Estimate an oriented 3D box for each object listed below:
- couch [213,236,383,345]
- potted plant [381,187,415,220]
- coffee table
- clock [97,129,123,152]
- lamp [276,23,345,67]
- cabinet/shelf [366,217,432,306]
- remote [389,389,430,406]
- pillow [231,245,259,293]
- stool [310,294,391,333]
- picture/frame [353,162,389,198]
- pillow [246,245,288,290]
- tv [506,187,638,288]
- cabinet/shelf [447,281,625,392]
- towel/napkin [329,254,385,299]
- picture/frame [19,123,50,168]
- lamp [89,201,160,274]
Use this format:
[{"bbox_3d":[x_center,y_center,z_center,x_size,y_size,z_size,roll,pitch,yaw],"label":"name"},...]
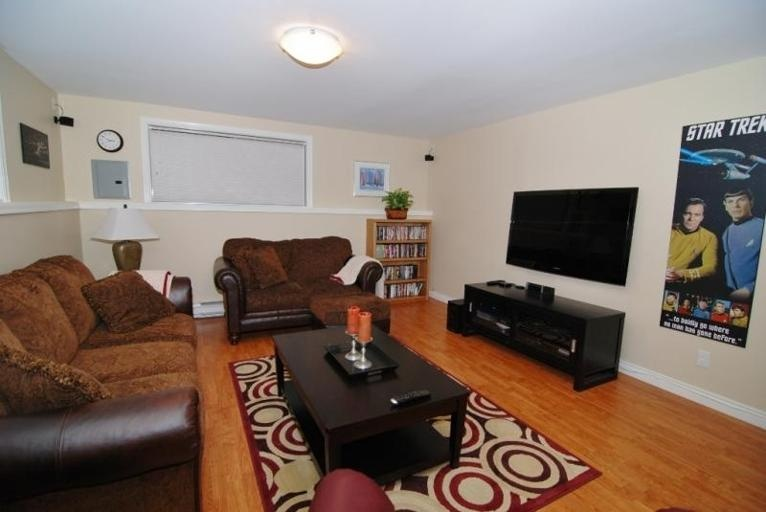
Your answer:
[{"bbox_3d":[-1.035,0.330,5.623,1.537,0.822,1.324,-4,11,-29],"label":"couch"},{"bbox_3d":[0.219,-0.706,6.963,0.497,0.453,0.437,0,1,-24],"label":"potted plant"},{"bbox_3d":[-0.158,1.136,4.053,1.152,0.797,1.348,-2,9,-25],"label":"coffee table"},{"bbox_3d":[-3.052,-1.292,5.633,0.262,0.256,0.052,0,10,-12],"label":"clock"},{"bbox_3d":[-0.610,-1.782,4.269,0.552,0.252,0.334,1,8,-7],"label":"lamp"},{"bbox_3d":[0.294,-0.139,7.073,0.726,0.958,0.230,-4,34,-6],"label":"cabinet/shelf"},{"bbox_3d":[0.195,0.998,3.605,0.338,0.074,0.097,-2,7,-23],"label":"remote"},{"bbox_3d":[-1.578,0.109,5.647,0.150,0.547,0.515,-30,33,-3],"label":"pillow"},{"bbox_3d":[-0.355,0.655,5.554,0.900,0.317,0.892,-8,-1,23],"label":"stool"},{"bbox_3d":[-0.192,-1.084,7.023,0.554,0.462,0.042,-2,13,-27],"label":"picture/frame"},{"bbox_3d":[-1.312,0.122,5.678,0.140,0.412,0.447,-27,-2,24],"label":"pillow"},{"bbox_3d":[1.990,-0.199,5.175,0.083,0.774,1.056,-3,8,-36],"label":"tv"},{"bbox_3d":[1.571,0.737,5.325,0.572,0.649,1.706,-5,11,-28],"label":"cabinet/shelf"},{"bbox_3d":[-0.227,0.150,6.172,0.648,0.667,0.526,-2,6,-41],"label":"towel/napkin"},{"bbox_3d":[-3.394,-1.071,4.921,0.101,0.404,0.566,-1,9,-19],"label":"picture/frame"},{"bbox_3d":[-2.715,-0.144,5.357,0.599,0.688,0.581,4,8,24],"label":"lamp"}]
